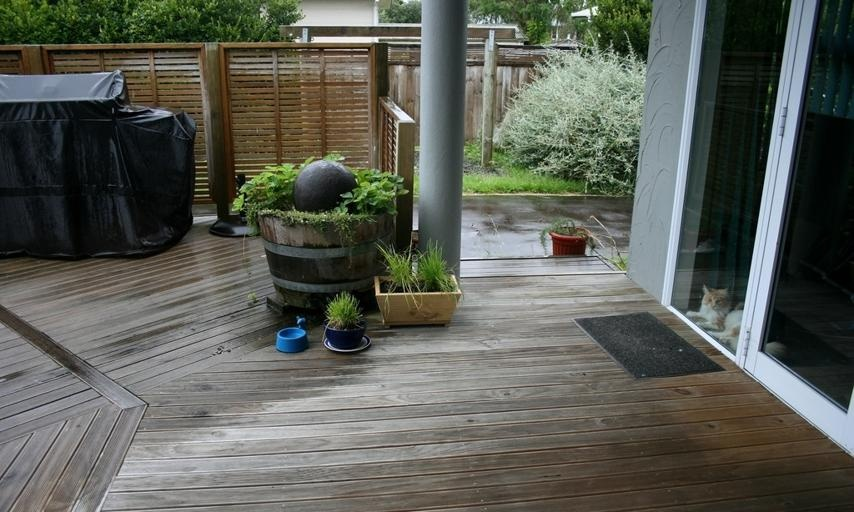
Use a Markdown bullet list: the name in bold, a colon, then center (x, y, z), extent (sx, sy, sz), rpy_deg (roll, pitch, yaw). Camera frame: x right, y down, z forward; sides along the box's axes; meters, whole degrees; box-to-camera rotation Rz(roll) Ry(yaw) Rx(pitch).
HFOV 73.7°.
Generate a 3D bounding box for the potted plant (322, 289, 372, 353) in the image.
- **potted plant**: center (-0.680, 0.546, 4.392), extent (0.394, 0.390, 0.348), rpy_deg (-13, 0, -43)

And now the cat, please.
- **cat**: center (2.310, 0.498, 4.285), extent (0.194, 0.249, 0.599), rpy_deg (-18, 31, -16)

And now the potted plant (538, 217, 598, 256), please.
- **potted plant**: center (1.487, -0.182, 6.067), extent (0.507, 0.388, 0.499), rpy_deg (-1, 21, -2)

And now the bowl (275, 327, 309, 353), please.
- **bowl**: center (-1.030, 0.637, 4.319), extent (0.252, 0.132, 0.224), rpy_deg (-3, 21, -6)

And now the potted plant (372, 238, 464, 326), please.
- **potted plant**: center (-0.096, 0.182, 4.754), extent (0.702, 0.509, 0.718), rpy_deg (-1, 12, -3)

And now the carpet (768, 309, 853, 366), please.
- **carpet**: center (2.496, 0.599, 3.753), extent (0.088, 0.339, 0.513), rpy_deg (-13, 24, -27)

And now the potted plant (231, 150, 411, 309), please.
- **potted plant**: center (-0.841, -0.180, 4.738), extent (1.275, 1.190, 0.725), rpy_deg (-1, 23, -3)
